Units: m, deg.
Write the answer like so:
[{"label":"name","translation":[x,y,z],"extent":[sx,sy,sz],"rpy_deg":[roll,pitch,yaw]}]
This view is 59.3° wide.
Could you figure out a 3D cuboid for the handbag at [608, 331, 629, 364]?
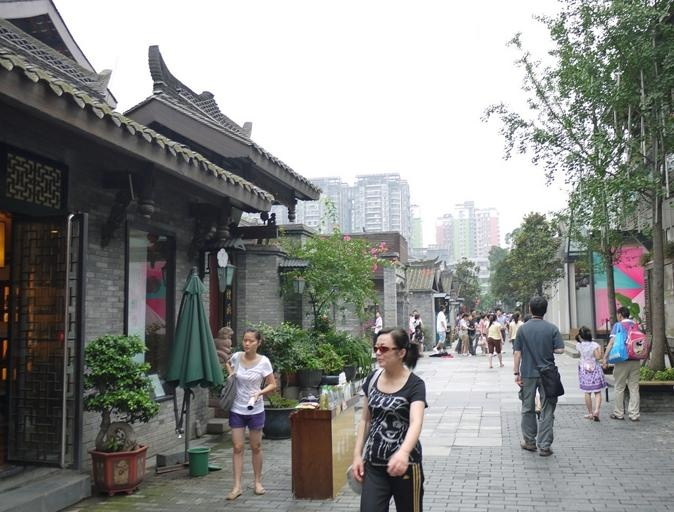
[{"label":"handbag","translation":[5.206,1.679,10.912],"extent":[0.259,0.600,0.502],"rpy_deg":[7,-12,-12]}]

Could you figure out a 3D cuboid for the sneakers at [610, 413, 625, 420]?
[{"label":"sneakers","translation":[5.266,2.987,11.126],"extent":[0.115,0.120,0.237],"rpy_deg":[0,6,-19]}]

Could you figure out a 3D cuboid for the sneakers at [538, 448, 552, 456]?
[{"label":"sneakers","translation":[3.067,2.843,8.682],"extent":[0.202,0.115,0.239],"rpy_deg":[-5,-8,16]}]

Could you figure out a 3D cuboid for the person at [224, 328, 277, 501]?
[{"label":"person","translation":[-1.113,1.954,7.629],"extent":[0.608,2.015,0.765],"rpy_deg":[-1,-8,-7]}]

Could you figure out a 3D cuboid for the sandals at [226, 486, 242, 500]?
[{"label":"sandals","translation":[-1.262,2.865,7.214],"extent":[0.150,0.114,0.282],"rpy_deg":[-3,-8,4]}]

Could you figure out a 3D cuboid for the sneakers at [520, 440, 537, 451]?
[{"label":"sneakers","translation":[2.894,2.851,8.979],"extent":[0.088,0.117,0.246],"rpy_deg":[0,4,-28]}]

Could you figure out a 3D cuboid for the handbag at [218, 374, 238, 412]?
[{"label":"handbag","translation":[-1.386,1.706,7.477],"extent":[0.192,0.439,0.228],"rpy_deg":[-1,-8,-12]}]

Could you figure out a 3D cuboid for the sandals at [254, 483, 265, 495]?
[{"label":"sandals","translation":[-0.978,2.872,7.350],"extent":[0.145,0.111,0.161],"rpy_deg":[-3,-8,1]}]

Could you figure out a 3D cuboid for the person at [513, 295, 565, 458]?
[{"label":"person","translation":[3.022,1.746,8.824],"extent":[0.701,2.323,1.011],"rpy_deg":[-4,-8,17]}]

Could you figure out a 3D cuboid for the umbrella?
[{"label":"umbrella","translation":[-2.084,1.519,8.642],"extent":[0.756,2.774,1.268],"rpy_deg":[-1,-8,-12]}]

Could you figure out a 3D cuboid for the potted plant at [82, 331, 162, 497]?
[{"label":"potted plant","translation":[-2.811,1.999,7.657],"extent":[0.861,1.943,1.067],"rpy_deg":[0,-8,-15]}]

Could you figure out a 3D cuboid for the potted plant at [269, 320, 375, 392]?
[{"label":"potted plant","translation":[-0.660,2.091,12.872],"extent":[2.110,1.117,1.788],"rpy_deg":[8,-12,-36]}]

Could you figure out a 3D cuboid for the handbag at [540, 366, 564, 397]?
[{"label":"handbag","translation":[3.135,1.825,8.640],"extent":[0.247,0.474,0.304],"rpy_deg":[-17,-7,30]}]

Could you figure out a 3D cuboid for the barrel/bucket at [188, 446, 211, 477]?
[{"label":"barrel/bucket","translation":[-1.899,2.812,8.096],"extent":[0.277,0.309,0.336],"rpy_deg":[1,-11,-7]}]
